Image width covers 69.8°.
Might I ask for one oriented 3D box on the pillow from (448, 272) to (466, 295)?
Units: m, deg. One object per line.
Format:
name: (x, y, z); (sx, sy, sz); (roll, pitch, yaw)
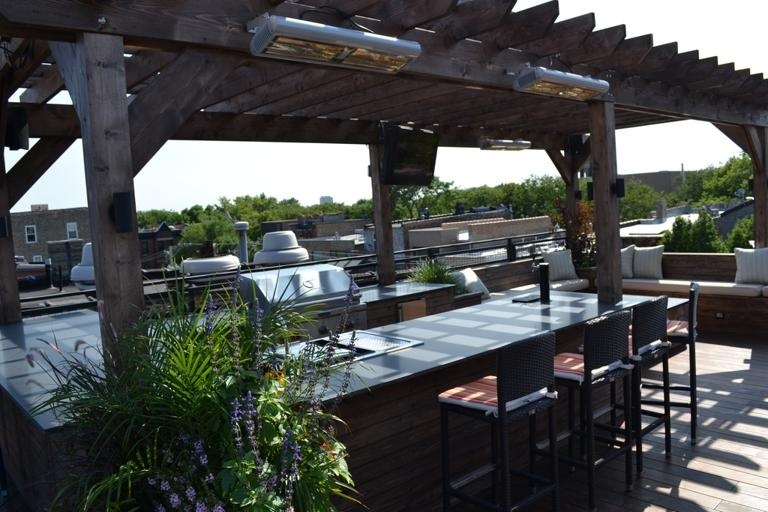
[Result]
pillow: (1.143, 0.423, 8.508); (0.090, 0.304, 0.239); (-23, -45, 27)

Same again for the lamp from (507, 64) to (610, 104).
lamp: (1.778, -1.724, 5.407); (1.198, 0.318, 0.450); (-10, 13, -34)

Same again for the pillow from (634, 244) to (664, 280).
pillow: (4.418, 0.132, 9.137); (0.472, 0.500, 0.189); (5, -8, 40)

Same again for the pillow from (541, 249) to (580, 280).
pillow: (3.044, 0.169, 9.411); (0.479, 0.437, 0.248); (-5, 9, -19)
